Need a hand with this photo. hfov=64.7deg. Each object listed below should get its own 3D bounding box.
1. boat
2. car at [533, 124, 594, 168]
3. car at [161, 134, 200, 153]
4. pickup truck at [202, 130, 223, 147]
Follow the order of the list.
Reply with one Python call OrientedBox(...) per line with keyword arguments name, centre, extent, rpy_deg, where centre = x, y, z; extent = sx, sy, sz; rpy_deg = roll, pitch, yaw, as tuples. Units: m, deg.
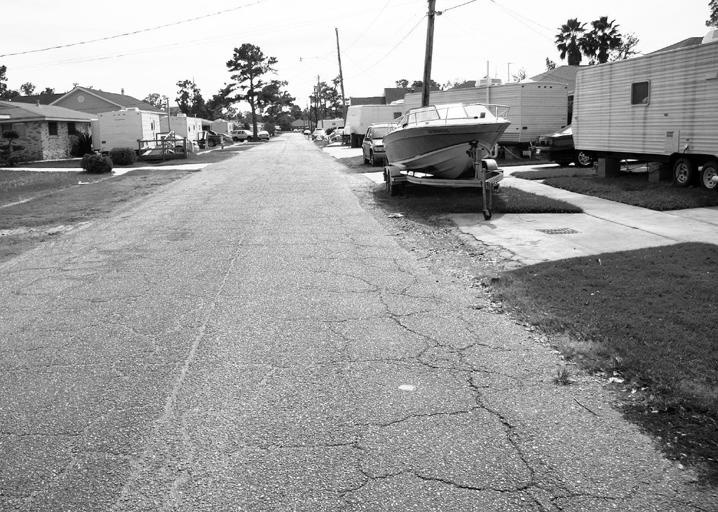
OrientedBox(name="boat", centre=(2.550, -3.498, 17.448), extent=(2.719, 2.228, 3.648), rpy_deg=(-8, 16, -25))
OrientedBox(name="car", centre=(8.910, -4.591, 24.738), extent=(2.724, 0.881, 1.304), rpy_deg=(-9, 20, -6))
OrientedBox(name="car", centre=(-13.435, -8.357, 42.656), extent=(1.528, 1.782, 8.126), rpy_deg=(-2, 15, -6))
OrientedBox(name="pickup truck", centre=(-18.483, -14.650, 71.436), extent=(2.647, 1.827, 5.263), rpy_deg=(0, 21, -11))
